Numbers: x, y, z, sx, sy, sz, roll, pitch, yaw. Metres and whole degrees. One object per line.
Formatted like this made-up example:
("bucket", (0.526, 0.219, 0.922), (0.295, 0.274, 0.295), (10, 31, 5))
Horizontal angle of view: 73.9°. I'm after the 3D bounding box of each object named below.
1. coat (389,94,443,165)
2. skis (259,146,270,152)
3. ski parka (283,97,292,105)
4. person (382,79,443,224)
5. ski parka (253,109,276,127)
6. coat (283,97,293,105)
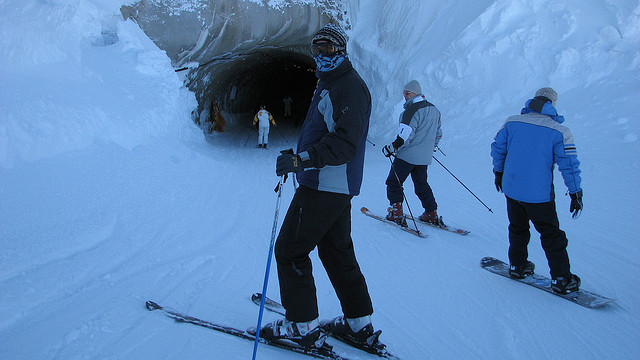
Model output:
("coat", (2.051, -1.066, 8.849), (1.251, 1.332, 0.649), (-11, 24, -33))
("skis", (-1.903, -1.070, 14.519), (0.110, 0.206, 0.318), (-1, 14, -35))
("ski parka", (-1.623, -3.958, 21.262), (0.386, 0.243, 0.308), (-1, -2, -10))
("person", (1.890, -0.540, 8.730), (1.310, 2.924, 0.514), (6, 10, -17))
("ski parka", (-1.954, -2.167, 14.820), (0.574, 0.599, 0.712), (5, 10, -19))
("coat", (-1.622, -3.994, 21.345), (0.382, 0.449, 0.508), (1, 7, 42))
